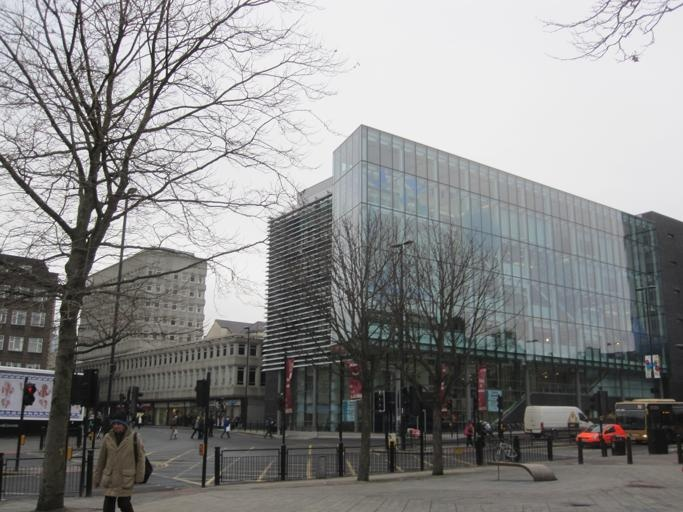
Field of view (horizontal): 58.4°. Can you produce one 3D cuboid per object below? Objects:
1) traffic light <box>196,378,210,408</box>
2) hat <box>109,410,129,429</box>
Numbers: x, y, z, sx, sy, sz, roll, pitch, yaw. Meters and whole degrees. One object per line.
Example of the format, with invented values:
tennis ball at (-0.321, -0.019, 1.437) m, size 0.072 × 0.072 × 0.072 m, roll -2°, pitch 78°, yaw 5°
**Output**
traffic light at (-5.071, 5.050, 22.505) m, size 0.465 × 1.024 × 0.954 m, roll 3°, pitch -19°, yaw -16°
hat at (-4.716, 3.488, 12.967) m, size 0.366 × 0.452 × 0.477 m, roll -2°, pitch -15°, yaw 2°
